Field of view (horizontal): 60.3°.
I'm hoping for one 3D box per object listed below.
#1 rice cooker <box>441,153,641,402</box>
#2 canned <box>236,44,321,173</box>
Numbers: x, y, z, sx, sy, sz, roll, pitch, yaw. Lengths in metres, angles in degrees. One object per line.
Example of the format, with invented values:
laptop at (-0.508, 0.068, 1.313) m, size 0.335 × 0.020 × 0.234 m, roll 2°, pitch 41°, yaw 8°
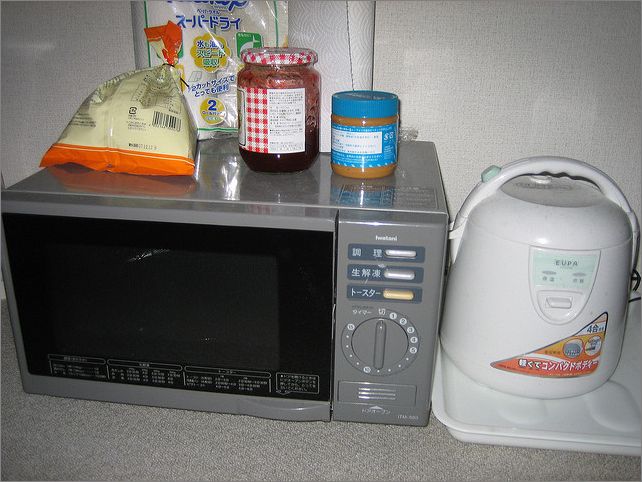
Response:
rice cooker at (0.382, 0.054, 0.953) m, size 0.325 × 0.376 × 0.245 m, roll 7°, pitch 32°, yaw 14°
canned at (-0.078, -0.238, 1.005) m, size 0.146 × 0.211 × 0.146 m, roll -8°, pitch 23°, yaw -21°
